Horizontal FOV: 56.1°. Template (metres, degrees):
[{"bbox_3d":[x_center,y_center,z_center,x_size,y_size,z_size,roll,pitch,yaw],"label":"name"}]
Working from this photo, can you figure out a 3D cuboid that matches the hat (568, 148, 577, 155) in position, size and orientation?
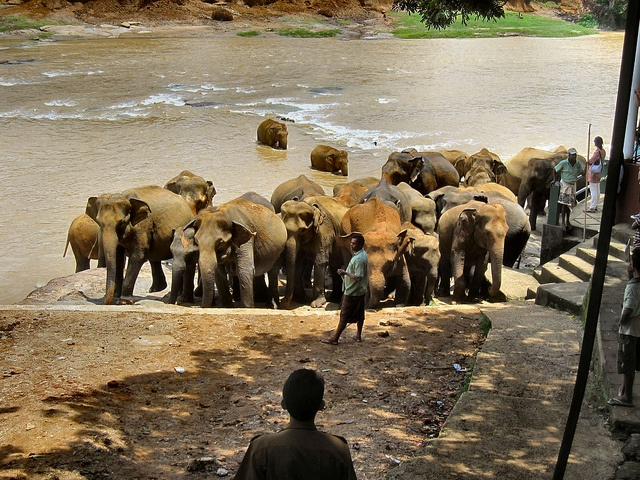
[{"bbox_3d":[5.553,-1.934,13.168,0.199,0.132,0.251,-3,10,-13],"label":"hat"}]

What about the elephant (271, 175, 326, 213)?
[{"bbox_3d":[-0.613,-1.140,13.996,0.682,0.737,1.505,-1,8,-5],"label":"elephant"}]

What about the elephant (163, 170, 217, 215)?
[{"bbox_3d":[-2.811,-1.093,13.172,0.712,0.714,1.306,-7,18,-10],"label":"elephant"}]

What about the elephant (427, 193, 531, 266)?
[{"bbox_3d":[3.330,-0.347,12.931,1.223,1.568,2.510,14,13,42],"label":"elephant"}]

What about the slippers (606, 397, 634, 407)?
[{"bbox_3d":[3.129,1.684,6.250,0.223,0.051,0.079,3,-8,8],"label":"slippers"}]

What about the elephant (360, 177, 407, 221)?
[{"bbox_3d":[1.464,-0.877,12.827,0.566,0.752,1.421,-21,24,2],"label":"elephant"}]

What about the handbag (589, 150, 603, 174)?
[{"bbox_3d":[5.961,-1.639,12.948,0.222,0.434,0.406,17,15,31],"label":"handbag"}]

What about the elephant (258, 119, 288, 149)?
[{"bbox_3d":[-2.100,-4.628,26.244,0.735,1.123,1.491,-3,16,-40],"label":"elephant"}]

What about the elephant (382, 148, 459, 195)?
[{"bbox_3d":[2.933,-1.924,16.655,2.544,1.312,1.117,-3,-2,-39],"label":"elephant"}]

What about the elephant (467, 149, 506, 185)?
[{"bbox_3d":[4.775,-2.187,17.278,0.836,0.876,1.661,1,10,11],"label":"elephant"}]

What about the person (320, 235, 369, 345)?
[{"bbox_3d":[0.383,0.770,9.484,1.013,2.035,0.840,5,25,5],"label":"person"}]
